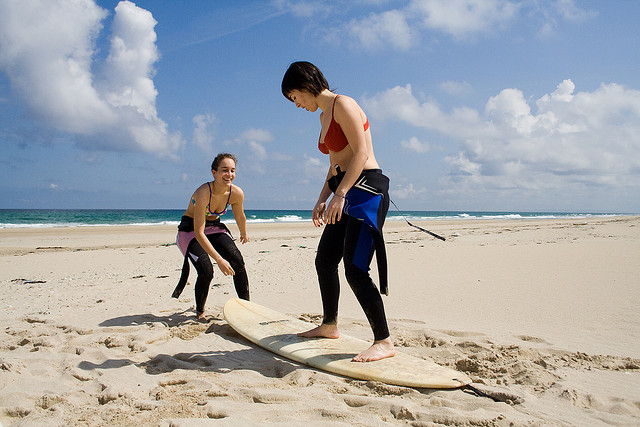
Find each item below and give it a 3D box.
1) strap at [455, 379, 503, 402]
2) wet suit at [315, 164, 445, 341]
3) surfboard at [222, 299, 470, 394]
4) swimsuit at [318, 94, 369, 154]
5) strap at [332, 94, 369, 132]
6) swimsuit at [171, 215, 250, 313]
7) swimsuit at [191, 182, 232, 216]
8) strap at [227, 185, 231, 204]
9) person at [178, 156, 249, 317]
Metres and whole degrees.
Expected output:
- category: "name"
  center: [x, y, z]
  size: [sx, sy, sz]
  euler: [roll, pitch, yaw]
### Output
- category: "strap"
  center: [1.688, 1.891, 4.972]
  size: [0.051, 0.050, 0.460]
  euler: [-25, 27, -26]
- category: "wet suit"
  center: [0.578, 0.319, 5.371]
  size: [1.011, 2.536, 0.916]
  euler: [1, 0, -20]
- category: "surfboard"
  center: [0.029, 1.625, 5.729]
  size: [3.601, 0.395, 1.036]
  euler: [10, 13, 43]
- category: "swimsuit"
  center: [0.169, -1.096, 5.354]
  size: [0.493, 0.658, 0.467]
  euler: [45, -15, 8]
- category: "strap"
  center: [0.334, -1.085, 5.075]
  size: [0.396, 0.369, 0.366]
  euler: [1, 11, 3]
- category: "swimsuit"
  center: [-1.610, 0.788, 7.239]
  size: [0.996, 1.493, 1.553]
  euler: [0, -1, 2]
- category: "swimsuit"
  center: [-1.598, -0.167, 6.868]
  size: [0.558, 0.543, 0.842]
  euler: [-2, 11, -14]
- category: "strap"
  center: [-1.348, -0.297, 6.895]
  size: [0.036, 0.263, 0.037]
  euler: [10, -8, 2]
- category: "person"
  center: [-1.546, 0.377, 6.820]
  size: [1.034, 2.390, 1.208]
  euler: [-3, 11, -17]
